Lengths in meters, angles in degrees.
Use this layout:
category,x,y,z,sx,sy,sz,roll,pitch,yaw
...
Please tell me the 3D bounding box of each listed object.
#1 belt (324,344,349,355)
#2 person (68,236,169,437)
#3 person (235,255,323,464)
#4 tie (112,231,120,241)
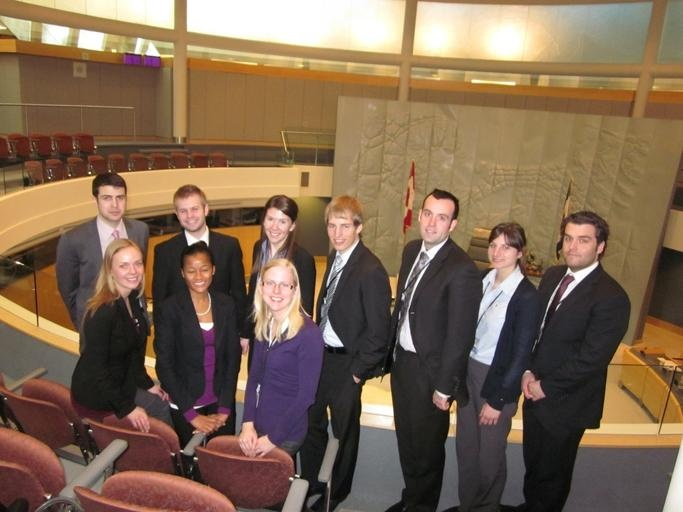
category,x,y,z,sx,sy,sz,roll,pitch,yaw
belt,-0.039,0.744,4.089,0.132,0.044,0.138,3,0,8
person,-1.623,0.579,3.794,0.510,1.311,0.604,11,17,25
person,-0.423,0.749,3.658,0.560,1.400,0.643,3,15,-2
tie,-2.027,-0.173,4.566,0.077,0.106,0.029,3,-24,-39
